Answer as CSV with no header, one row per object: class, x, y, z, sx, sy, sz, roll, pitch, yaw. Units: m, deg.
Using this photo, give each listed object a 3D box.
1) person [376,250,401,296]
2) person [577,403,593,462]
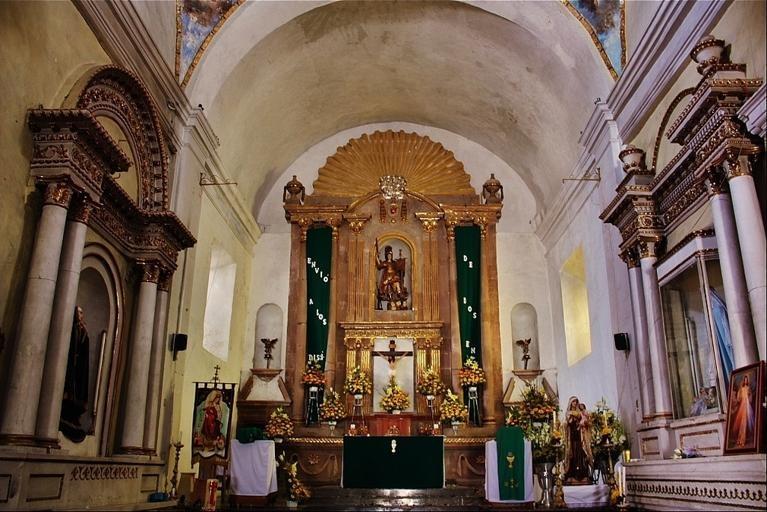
person,0.148,0.512,16.141,0.710,1.607,0.432,-3,-21,4
person,3.602,3.179,10.151,0.205,1.016,0.413,-9,-22,18
